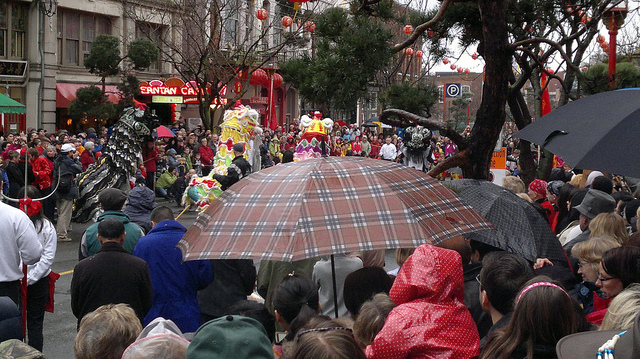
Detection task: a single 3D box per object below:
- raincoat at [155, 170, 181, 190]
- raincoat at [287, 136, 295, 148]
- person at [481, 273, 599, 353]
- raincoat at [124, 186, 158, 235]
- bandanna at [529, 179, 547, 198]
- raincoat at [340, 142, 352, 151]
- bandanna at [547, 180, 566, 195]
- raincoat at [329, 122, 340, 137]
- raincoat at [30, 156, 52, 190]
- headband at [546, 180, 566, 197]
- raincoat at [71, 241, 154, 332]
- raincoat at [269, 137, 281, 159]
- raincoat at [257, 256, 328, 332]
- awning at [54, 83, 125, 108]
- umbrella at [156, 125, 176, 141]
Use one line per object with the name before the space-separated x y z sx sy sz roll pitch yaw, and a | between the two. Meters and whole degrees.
raincoat | -5.106 0.013 25.224 0.731 0.635 0.364 4 7 -6
raincoat | -1.186 -1.651 33.226 0.318 0.468 0.592 7 7 24
person | 3.281 2.071 11.140 1.074 0.673 1.369 -3 26 13
raincoat | -3.675 0.587 15.907 0.545 1.253 0.643 1 -1 19
bandanna | 4.736 0.198 16.438 0.376 0.307 0.301 13 20 17
raincoat | 1.252 -1.493 34.459 0.445 0.422 1.218 6 7 12
bandanna | 5.067 0.223 16.437 0.324 0.260 0.332 17 34 43
raincoat | 0.654 -2.213 34.367 0.510 0.713 0.275 -1 -17 32
raincoat | -7.751 -0.181 21.020 0.689 0.869 0.612 8 13 29
headband | 5.081 0.193 16.459 0.315 0.322 0.382 23 45 39
raincoat | -3.608 1.823 13.186 1.390 1.427 0.520 3 7 -13
raincoat | -1.948 -1.306 31.992 0.553 0.743 0.256 3 1 -45
raincoat | -0.659 1.998 13.999 0.965 1.003 0.507 3 7 -10
awning | -10.116 -3.652 33.027 2.787 1.402 1.314 -1 -1 -9
umbrella | -5.641 -1.687 27.767 0.908 0.394 0.865 1 2 -25
